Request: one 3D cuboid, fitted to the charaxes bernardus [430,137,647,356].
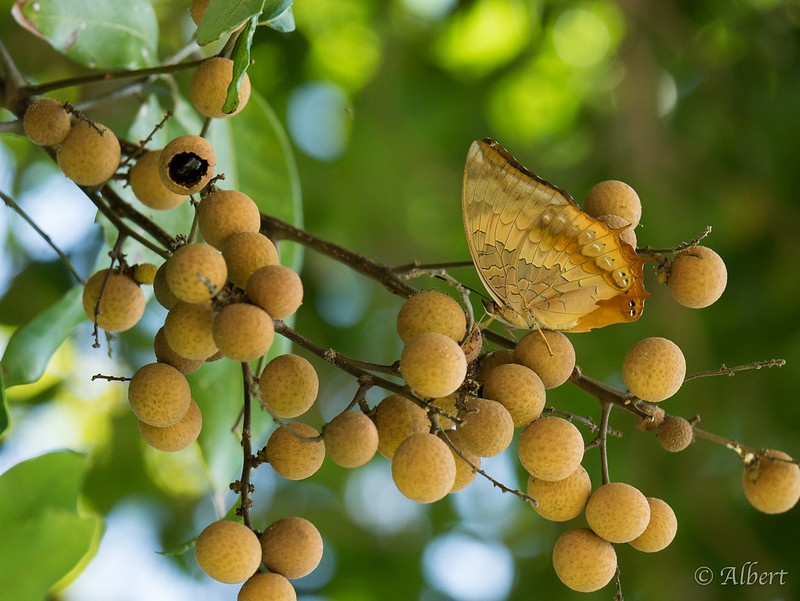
[{"bbox_3d":[0.216,-0.085,1.537,0.284,0.331,0.342,4,95,-11],"label":"charaxes bernardus"}]
